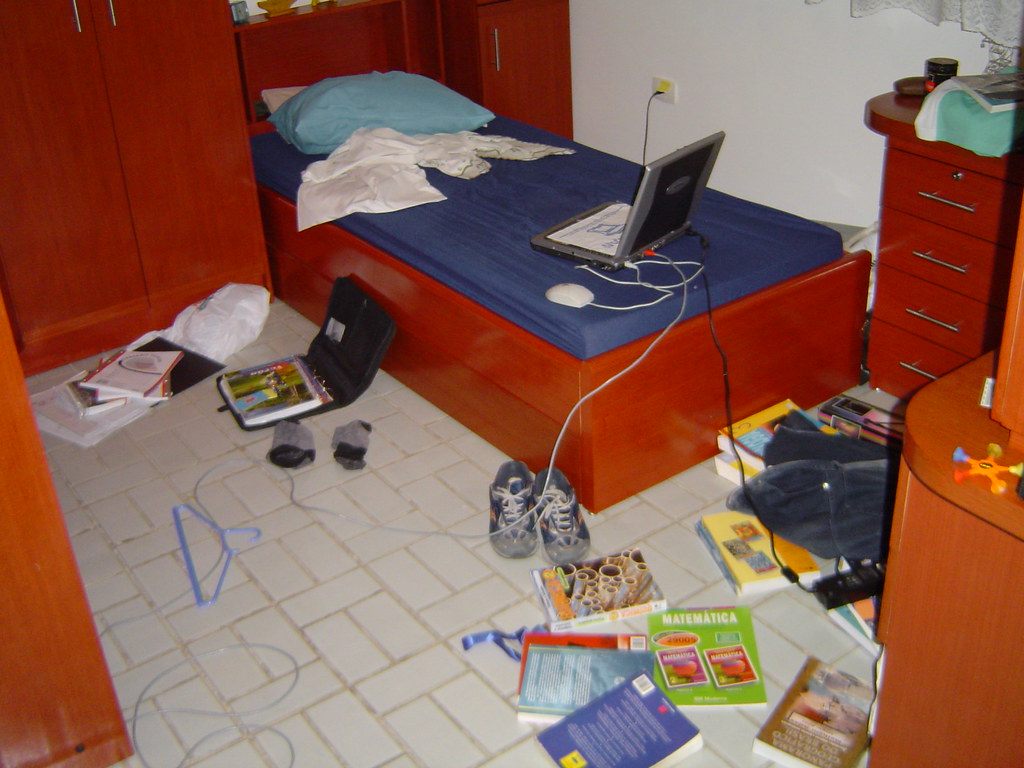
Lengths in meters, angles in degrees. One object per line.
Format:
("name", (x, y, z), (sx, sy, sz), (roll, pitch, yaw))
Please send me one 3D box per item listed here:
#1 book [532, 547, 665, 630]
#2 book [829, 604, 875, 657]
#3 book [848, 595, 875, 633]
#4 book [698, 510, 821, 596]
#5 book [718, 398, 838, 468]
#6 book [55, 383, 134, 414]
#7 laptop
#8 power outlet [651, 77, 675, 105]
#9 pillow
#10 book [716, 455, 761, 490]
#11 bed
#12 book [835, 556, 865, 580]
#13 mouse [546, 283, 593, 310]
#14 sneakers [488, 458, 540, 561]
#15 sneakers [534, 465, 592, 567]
("book", (0.254, 0.610, 2.265), (0.347, 0.045, 0.220), (-9, 38, -9))
("book", (0.953, 0.661, 2.111), (0.068, 0.064, 0.148), (-22, 42, -23))
("book", (0.956, 0.630, 2.107), (0.064, 0.016, 0.067), (-12, 41, -6))
("book", (0.750, 0.504, 2.356), (0.259, 0.048, 0.313), (-10, 38, -10))
("book", (0.882, 0.113, 2.583), (0.265, 0.060, 0.254), (-21, 40, -24))
("book", (-1.664, 0.064, 3.096), (0.123, 0.037, 0.182), (-24, 49, -29))
("laptop", (0.385, -0.675, 2.692), (0.461, 0.417, 0.441), (27, 47, 31))
("power outlet", (0.838, -1.625, 4.247), (0.023, 0.111, 0.163), (-33, 53, -29))
("pillow", (-0.655, -1.388, 3.851), (0.757, 0.212, 0.627), (-14, 37, -26))
("book", (0.784, 0.281, 2.649), (0.100, 0.061, 0.139), (-30, 47, -26))
("bed", (-0.024, -0.350, 2.987), (1.188, 0.528, 2.059), (-26, 42, -33))
("book", (0.971, 0.532, 2.232), (0.058, 0.014, 0.060), (-6, 15, 12))
("mouse", (0.193, -0.283, 2.442), (0.114, 0.031, 0.080), (21, 36, 33))
("sneakers", (0.007, 0.401, 2.447), (0.152, 0.186, 0.259), (-2, 38, 1))
("sneakers", (0.162, 0.415, 2.437), (0.141, 0.106, 0.289), (-9, 46, -5))
